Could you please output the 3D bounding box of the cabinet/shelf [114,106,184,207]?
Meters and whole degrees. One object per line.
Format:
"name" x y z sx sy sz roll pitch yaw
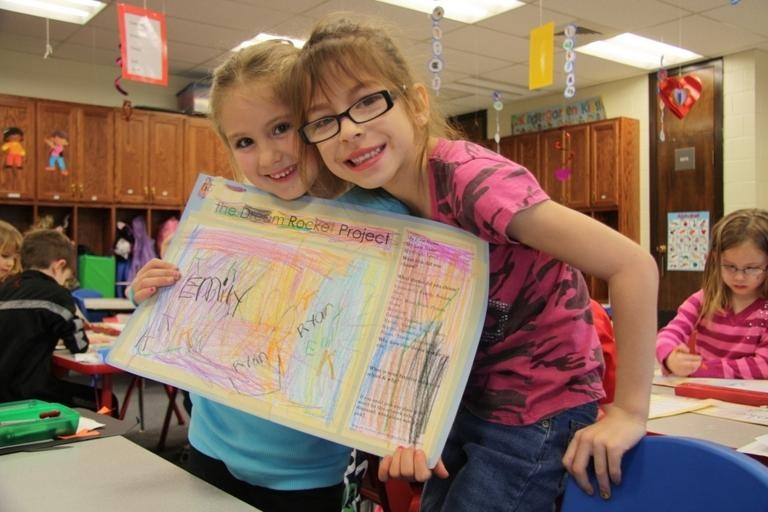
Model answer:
"cabinet/shelf" -2.703 -1.178 6.635 0.801 1.022 0.768 4 9 1

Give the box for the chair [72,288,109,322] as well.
"chair" -2.739 0.499 5.120 0.266 0.325 0.247 -2 11 -44

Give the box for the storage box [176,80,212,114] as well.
"storage box" -2.320 -1.937 6.621 0.301 0.359 0.382 -1 9 8
